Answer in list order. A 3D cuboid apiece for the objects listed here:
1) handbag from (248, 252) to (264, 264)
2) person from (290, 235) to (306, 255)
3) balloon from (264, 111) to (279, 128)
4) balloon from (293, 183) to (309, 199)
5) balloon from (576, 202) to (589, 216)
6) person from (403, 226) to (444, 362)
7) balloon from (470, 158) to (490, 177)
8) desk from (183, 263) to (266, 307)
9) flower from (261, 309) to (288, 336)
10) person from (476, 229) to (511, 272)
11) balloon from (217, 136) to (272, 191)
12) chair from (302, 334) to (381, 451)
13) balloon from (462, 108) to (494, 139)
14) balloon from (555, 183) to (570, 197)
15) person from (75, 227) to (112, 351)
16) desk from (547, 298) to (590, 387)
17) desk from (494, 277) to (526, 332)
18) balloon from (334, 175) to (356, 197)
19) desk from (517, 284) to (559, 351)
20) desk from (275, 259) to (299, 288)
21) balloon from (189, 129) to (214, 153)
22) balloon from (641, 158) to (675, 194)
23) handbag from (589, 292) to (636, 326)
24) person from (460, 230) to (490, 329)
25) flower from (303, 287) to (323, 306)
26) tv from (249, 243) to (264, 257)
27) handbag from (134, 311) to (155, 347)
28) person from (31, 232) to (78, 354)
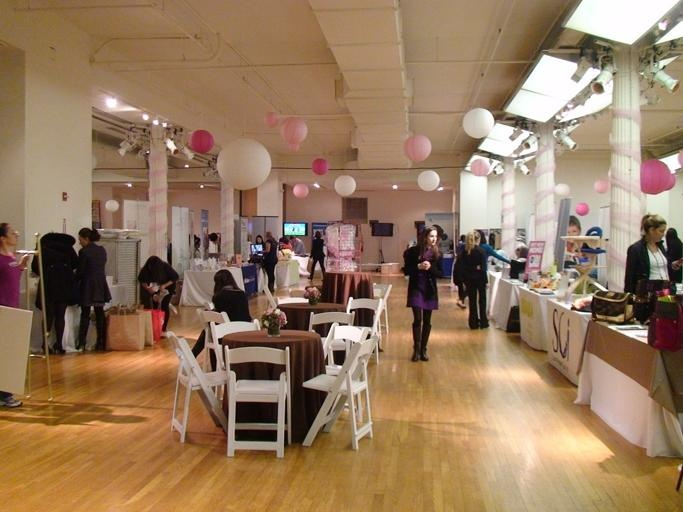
[{"bbox_3d":[-2.549,0.081,15.244,0.318,0.348,0.336,1,12,4],"label":"handbag"},{"bbox_3d":[-1.798,-0.352,20.725,0.579,0.766,0.820,-1,5,-6],"label":"person"},{"bbox_3d":[-1.325,-2.563,9.482,0.262,0.310,0.272,-11,19,-21],"label":"balloon"},{"bbox_3d":[-1.296,-2.126,16.313,0.355,0.406,0.713,0,5,2],"label":"balloon"},{"bbox_3d":[7.006,-1.347,14.680,0.269,0.314,0.572,2,5,24],"label":"balloon"},{"bbox_3d":[1.173,0.564,7.282,0.526,1.939,0.638,0,5,7],"label":"person"},{"bbox_3d":[3.560,-2.303,12.933,0.409,0.490,0.980,1,5,12],"label":"balloon"},{"bbox_3d":[-3.267,0.731,13.532,1.109,0.604,2.033,0,1,5],"label":"desk"},{"bbox_3d":[-0.670,0.663,5.050,0.227,0.258,0.242,1,-3,-3],"label":"flower"},{"bbox_3d":[3.763,-0.108,12.339,0.256,0.944,0.885,-24,31,-19],"label":"person"},{"bbox_3d":[-1.337,-1.253,6.960,0.719,0.821,0.683,3,5,-3],"label":"balloon"},{"bbox_3d":[0.119,1.297,5.129,0.813,1.383,0.818,1,-4,14],"label":"chair"},{"bbox_3d":[2.330,-2.279,8.549,0.446,0.505,0.799,1,5,18],"label":"balloon"},{"bbox_3d":[6.609,-1.968,15.130,0.335,0.392,0.853,2,5,23],"label":"balloon"},{"bbox_3d":[-3.919,0.542,7.924,0.482,1.937,0.568,0,4,0],"label":"person"},{"bbox_3d":[2.794,1.061,6.175,0.422,0.821,0.843,-1,14,1],"label":"desk"},{"bbox_3d":[3.154,0.932,9.635,0.640,0.753,0.987,3,0,4],"label":"desk"},{"bbox_3d":[0.118,-2.075,14.662,0.495,0.563,0.807,0,5,8],"label":"balloon"},{"bbox_3d":[3.073,0.984,8.155,0.621,0.958,1.205,1,2,7],"label":"desk"},{"bbox_3d":[-1.834,0.589,17.097,0.655,0.888,1.221,-1,1,7],"label":"desk"},{"bbox_3d":[-2.652,-2.200,9.543,0.366,0.447,0.614,-2,5,-20],"label":"balloon"},{"bbox_3d":[4.900,-1.239,7.845,0.334,0.539,0.769,3,6,39],"label":"balloon"},{"bbox_3d":[2.805,0.530,5.225,0.191,0.324,0.389,4,-1,-31],"label":"handbag"},{"bbox_3d":[2.594,0.456,9.708,0.458,1.859,0.838,1,5,17],"label":"person"},{"bbox_3d":[-0.385,0.549,6.803,0.196,0.230,0.215,-2,2,10],"label":"flower"},{"bbox_3d":[-2.584,-0.153,15.433,0.392,0.425,0.291,0,-8,-6],"label":"tv"},{"bbox_3d":[-3.194,1.192,8.164,0.178,0.546,0.541,-1,1,-2],"label":"handbag"},{"bbox_3d":[-4.186,0.589,7.566,0.454,1.841,0.426,-3,5,-29],"label":"person"}]
